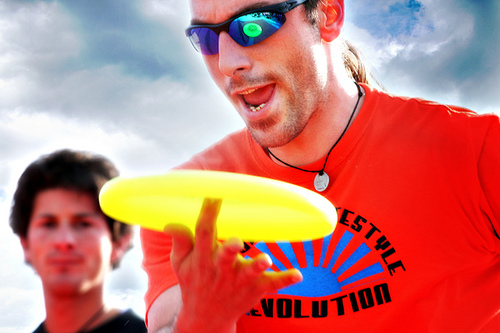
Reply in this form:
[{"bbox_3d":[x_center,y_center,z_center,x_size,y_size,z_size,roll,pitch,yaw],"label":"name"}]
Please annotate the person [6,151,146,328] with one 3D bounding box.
[{"bbox_3d":[-1.352,0.594,3.779,0.848,1.368,0.917,-11,-38,-2],"label":"person"}]
